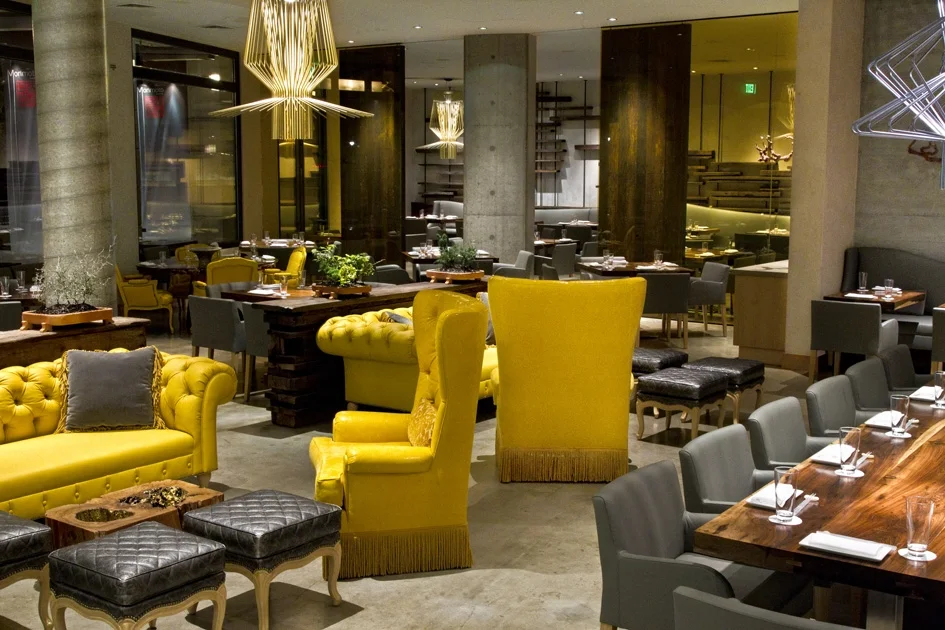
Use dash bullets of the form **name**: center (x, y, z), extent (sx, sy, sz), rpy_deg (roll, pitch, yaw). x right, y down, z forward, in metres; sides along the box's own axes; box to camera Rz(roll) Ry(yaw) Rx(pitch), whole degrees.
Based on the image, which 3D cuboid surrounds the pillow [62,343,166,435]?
- **pillow**: center (-2.548, 0.545, 4.864), extent (0.626, 0.540, 0.207), rpy_deg (0, -12, -13)

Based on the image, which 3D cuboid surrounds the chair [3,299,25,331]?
- **chair**: center (-4.715, 0.000, 7.063), extent (0.153, 0.284, 0.392), rpy_deg (-7, 14, -24)

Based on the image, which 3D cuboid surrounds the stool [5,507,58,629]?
- **stool**: center (-2.347, 1.348, 3.656), extent (0.249, 0.590, 0.391), rpy_deg (-9, 16, -32)

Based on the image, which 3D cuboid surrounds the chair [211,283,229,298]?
- **chair**: center (-3.009, -0.297, 8.117), extent (0.184, 0.171, 0.164), rpy_deg (-2, 7, -28)

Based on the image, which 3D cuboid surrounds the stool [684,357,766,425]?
- **stool**: center (2.444, 0.638, 6.662), extent (0.707, 0.558, 0.693), rpy_deg (-4, 6, -43)

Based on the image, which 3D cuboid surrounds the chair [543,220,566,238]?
- **chair**: center (1.991, -2.140, 17.046), extent (0.920, 0.460, 0.592), rpy_deg (0, 4, 2)

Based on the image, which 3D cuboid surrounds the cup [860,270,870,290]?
- **cup**: center (4.717, -0.416, 8.241), extent (0.080, 0.209, 0.174), rpy_deg (7, 15, 30)

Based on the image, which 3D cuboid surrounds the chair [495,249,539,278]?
- **chair**: center (0.727, -0.842, 11.200), extent (0.509, 0.395, 1.444), rpy_deg (2, 12, 10)

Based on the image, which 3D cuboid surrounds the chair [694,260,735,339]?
- **chair**: center (3.839, -0.360, 10.983), extent (0.604, 1.125, 1.872), rpy_deg (4, 13, 20)

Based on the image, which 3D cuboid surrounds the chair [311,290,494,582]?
- **chair**: center (-0.397, 0.715, 5.273), extent (1.673, 2.272, 1.676), rpy_deg (1, 2, -5)

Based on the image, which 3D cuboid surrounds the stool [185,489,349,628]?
- **stool**: center (-1.102, 1.246, 3.904), extent (0.702, 0.573, 0.751), rpy_deg (-1, -2, 34)

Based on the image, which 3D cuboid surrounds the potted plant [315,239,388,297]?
- **potted plant**: center (-1.322, -0.477, 7.164), extent (0.600, 0.500, 0.504), rpy_deg (2, 13, 9)

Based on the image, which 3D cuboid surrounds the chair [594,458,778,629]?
- **chair**: center (1.057, 1.001, 3.153), extent (0.748, 0.833, 0.936), rpy_deg (-1, 4, 30)

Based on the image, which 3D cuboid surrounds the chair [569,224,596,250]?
- **chair**: center (2.651, -1.892, 16.621), extent (0.627, 0.716, 0.648), rpy_deg (4, 13, 16)

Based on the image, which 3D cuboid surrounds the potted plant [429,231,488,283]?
- **potted plant**: center (-0.189, -0.707, 8.443), extent (0.618, 0.531, 0.750), rpy_deg (-4, 13, -17)

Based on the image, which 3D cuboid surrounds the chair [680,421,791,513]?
- **chair**: center (1.296, 0.755, 3.685), extent (0.431, 0.567, 0.485), rpy_deg (-5, 1, -38)

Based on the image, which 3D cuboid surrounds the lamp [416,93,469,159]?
- **lamp**: center (-0.622, -4.909, 17.543), extent (0.795, 1.703, 2.194), rpy_deg (-1, 12, -3)

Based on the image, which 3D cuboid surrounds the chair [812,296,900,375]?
- **chair**: center (4.152, 0.167, 7.476), extent (0.656, 0.873, 0.721), rpy_deg (5, 7, 38)

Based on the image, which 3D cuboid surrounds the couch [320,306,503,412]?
- **couch**: center (-0.699, 0.393, 6.498), extent (1.786, 0.861, 1.006), rpy_deg (2, -1, -43)

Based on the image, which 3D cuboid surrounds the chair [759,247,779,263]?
- **chair**: center (4.703, -0.980, 10.847), extent (0.253, 0.248, 0.242), rpy_deg (4, 19, 9)

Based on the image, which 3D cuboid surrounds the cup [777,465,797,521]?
- **cup**: center (1.371, 0.763, 2.988), extent (0.087, 0.189, 0.166), rpy_deg (6, 14, 24)

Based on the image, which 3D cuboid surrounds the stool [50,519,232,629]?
- **stool**: center (-1.597, 1.175, 3.310), extent (0.592, 0.385, 0.597), rpy_deg (4, 4, 32)
